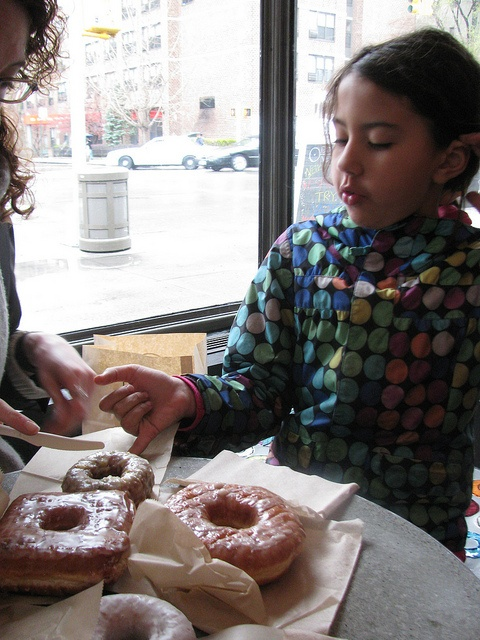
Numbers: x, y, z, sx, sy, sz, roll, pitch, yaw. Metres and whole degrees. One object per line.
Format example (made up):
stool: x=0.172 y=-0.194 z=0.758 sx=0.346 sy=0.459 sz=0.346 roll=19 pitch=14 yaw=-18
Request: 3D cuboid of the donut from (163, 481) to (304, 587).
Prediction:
donut: x=-0.004 y=0.231 z=0.586 sx=0.150 sy=0.050 sz=0.145 roll=12 pitch=12 yaw=17
